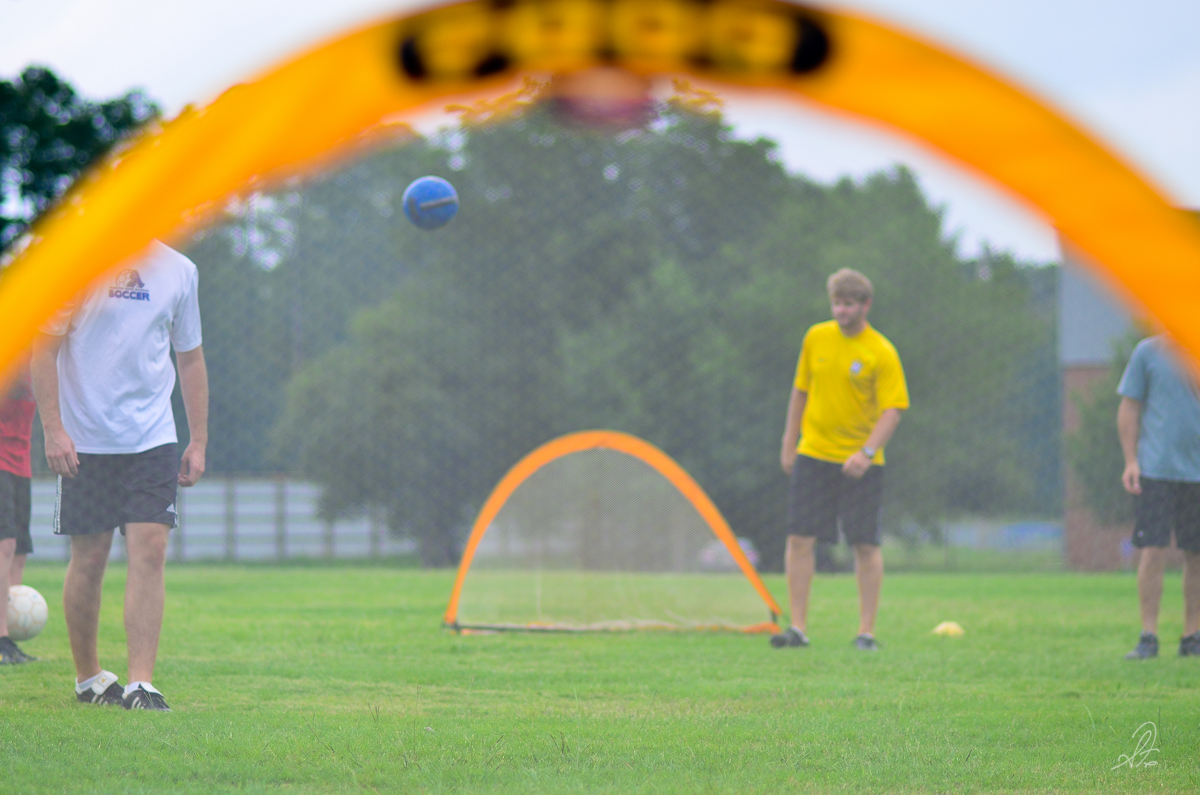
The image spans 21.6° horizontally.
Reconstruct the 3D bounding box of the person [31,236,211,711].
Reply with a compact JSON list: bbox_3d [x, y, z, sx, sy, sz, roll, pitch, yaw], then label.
[{"bbox_3d":[-1.869,0.320,12.321,0.657,1.819,0.808,3,-7,0],"label":"person"}]

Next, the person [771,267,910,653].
[{"bbox_3d":[1.049,0.284,13.589,0.476,1.615,0.765,3,-7,-6],"label":"person"}]

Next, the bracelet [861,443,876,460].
[{"bbox_3d":[1.168,0.233,13.506,0.060,0.061,0.091,1,-7,12],"label":"bracelet"}]

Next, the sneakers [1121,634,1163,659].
[{"bbox_3d":[2.391,1.103,13.770,0.127,0.116,0.244,1,-6,9],"label":"sneakers"}]

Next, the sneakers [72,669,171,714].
[{"bbox_3d":[-1.876,1.166,12.452,0.415,0.152,0.141,-1,-6,18],"label":"sneakers"}]

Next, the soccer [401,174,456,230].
[{"bbox_3d":[-0.642,-0.786,12.093,0.204,0.178,0.267,2,-6,5],"label":"soccer"}]

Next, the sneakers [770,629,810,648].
[{"bbox_3d":[0.823,1.060,13.691,0.080,0.061,0.141,-8,-12,43],"label":"sneakers"}]
